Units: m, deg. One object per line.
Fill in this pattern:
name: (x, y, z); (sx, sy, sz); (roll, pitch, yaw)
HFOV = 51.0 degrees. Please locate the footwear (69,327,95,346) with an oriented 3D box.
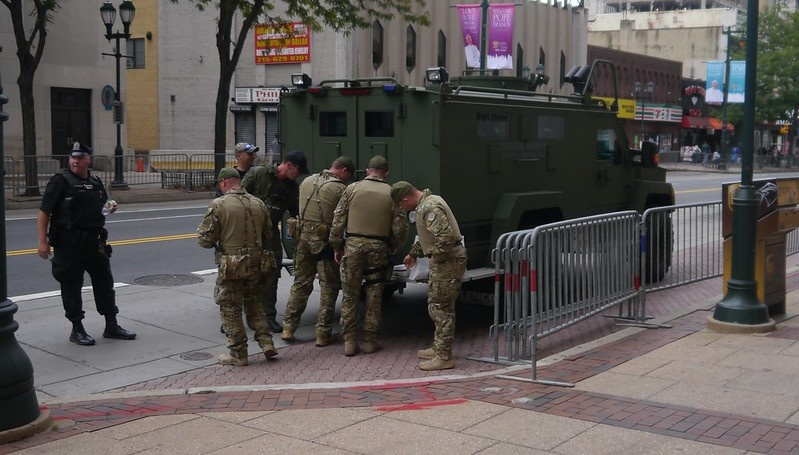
footwear: (-5.436, 1.873, 14.376); (0.555, 0.316, 0.217); (1, 0, 21)

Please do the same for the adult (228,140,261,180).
adult: (-2.810, -1.334, 15.532); (0.777, 0.889, 0.561); (-3, 16, -5)

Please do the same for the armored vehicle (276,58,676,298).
armored vehicle: (1.934, -1.421, 17.496); (4.425, 3.936, 7.389); (10, 17, 44)

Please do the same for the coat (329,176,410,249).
coat: (-0.520, -0.227, 14.188); (1.258, 1.152, 0.628); (3, 6, -5)

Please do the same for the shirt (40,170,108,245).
shirt: (-5.526, -0.317, 14.288); (0.885, 1.414, 1.520); (-1, 0, 45)

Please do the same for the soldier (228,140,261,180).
soldier: (-2.827, -1.335, 15.530); (0.777, 0.889, 0.561); (-3, 16, -5)
